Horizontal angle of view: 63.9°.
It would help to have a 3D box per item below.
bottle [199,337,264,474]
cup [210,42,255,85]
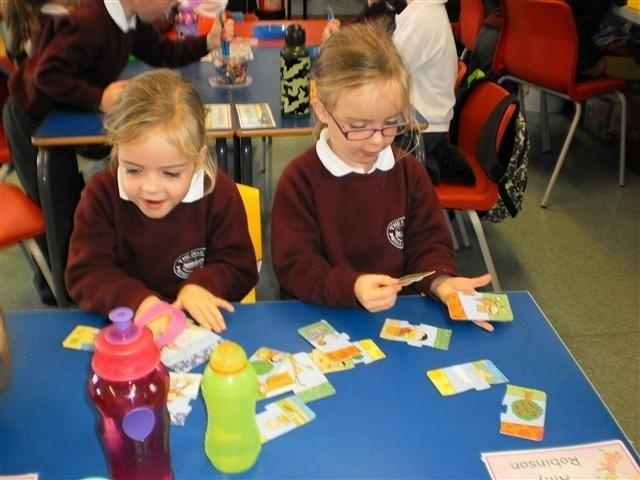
[{"bbox_3d":[-0.178,0.301,0.987,0.119,0.239,0.162,-8,31,-9],"label":"bottle"},{"bbox_3d":[-0.488,-0.978,2.776,0.205,0.209,0.232,-5,23,-9],"label":"cup"}]
